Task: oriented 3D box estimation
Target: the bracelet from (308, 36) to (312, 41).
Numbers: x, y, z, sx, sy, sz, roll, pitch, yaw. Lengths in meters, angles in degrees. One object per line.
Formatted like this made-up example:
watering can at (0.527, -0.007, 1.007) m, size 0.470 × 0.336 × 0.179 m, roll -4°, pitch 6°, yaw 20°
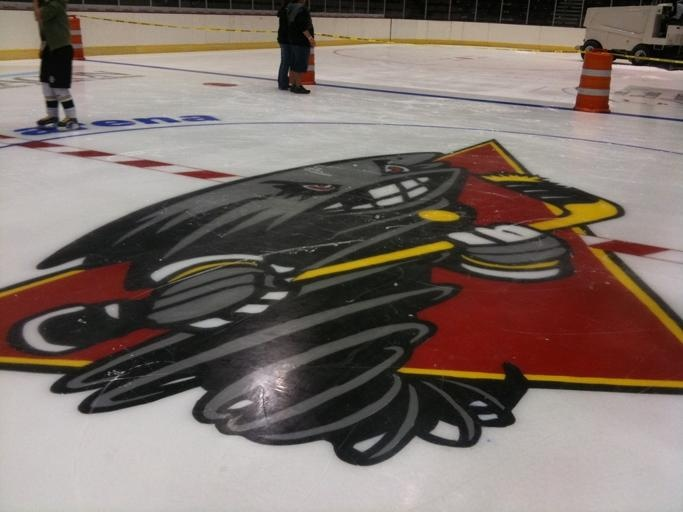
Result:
bracelet at (-0.565, -4.041, 10.302) m, size 0.019 × 0.077 × 0.078 m, roll -54°, pitch 12°, yaw -12°
